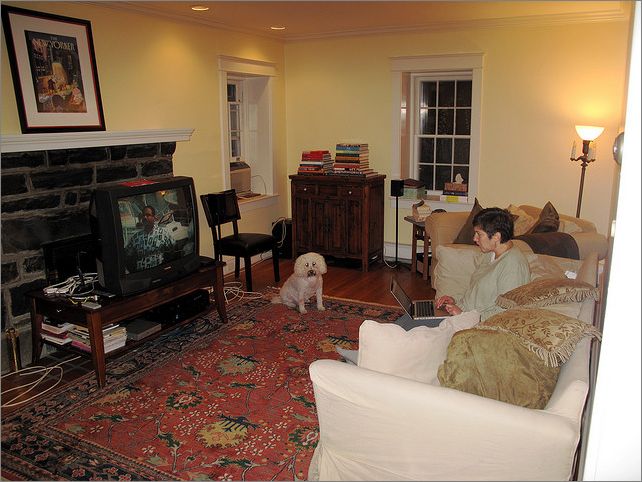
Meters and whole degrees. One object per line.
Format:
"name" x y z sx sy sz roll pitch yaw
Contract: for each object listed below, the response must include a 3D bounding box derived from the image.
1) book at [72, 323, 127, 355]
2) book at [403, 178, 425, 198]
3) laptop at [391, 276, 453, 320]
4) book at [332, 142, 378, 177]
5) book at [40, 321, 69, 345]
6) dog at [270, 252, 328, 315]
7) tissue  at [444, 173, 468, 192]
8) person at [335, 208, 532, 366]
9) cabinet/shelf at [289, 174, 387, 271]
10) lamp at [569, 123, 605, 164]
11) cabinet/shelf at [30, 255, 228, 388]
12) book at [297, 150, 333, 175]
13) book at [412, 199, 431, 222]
"book" -1.848 0.788 3.749 0.270 0.091 0.275 9 14 33
"book" 1.297 -0.741 6.433 0.252 0.212 0.350 3 12 19
"laptop" 0.751 0.473 3.479 0.326 0.209 0.342 -6 20 -2
"book" 0.475 -1.138 6.399 0.510 0.429 0.378 7 16 30
"book" -2.219 0.773 3.833 0.212 0.065 0.214 7 10 26
"dog" -0.199 0.421 5.058 0.411 0.696 0.741 -8 15 -35
"tissue " 1.889 -0.801 6.426 0.335 0.328 0.245 3 10 26
"person" 0.806 0.314 3.418 1.380 1.021 0.651 -2 0 5
"cabinet/shelf" 0.245 -0.276 6.266 1.247 1.274 0.738 2 7 22
"lamp" 3.077 -1.097 5.287 0.317 0.460 0.561 6 16 28
"cabinet/shelf" -1.715 0.508 3.895 0.947 0.715 1.488 6 15 28
"book" -0.066 -1.115 6.518 0.467 0.318 0.334 4 11 26
"book" 1.306 -0.397 5.951 0.261 0.273 0.255 1 7 12
